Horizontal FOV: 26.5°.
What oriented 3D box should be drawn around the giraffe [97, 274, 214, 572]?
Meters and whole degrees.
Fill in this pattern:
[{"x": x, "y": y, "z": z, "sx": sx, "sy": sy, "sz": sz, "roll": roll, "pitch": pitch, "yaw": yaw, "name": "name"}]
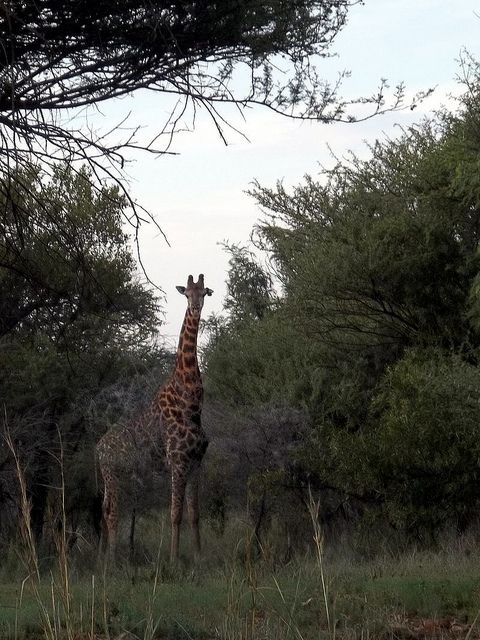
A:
[{"x": -1.083, "y": 1.409, "z": 13.045, "sx": 1.385, "sy": 4.220, "sz": 2.617, "roll": -4, "pitch": 13, "yaw": -14, "name": "giraffe"}]
